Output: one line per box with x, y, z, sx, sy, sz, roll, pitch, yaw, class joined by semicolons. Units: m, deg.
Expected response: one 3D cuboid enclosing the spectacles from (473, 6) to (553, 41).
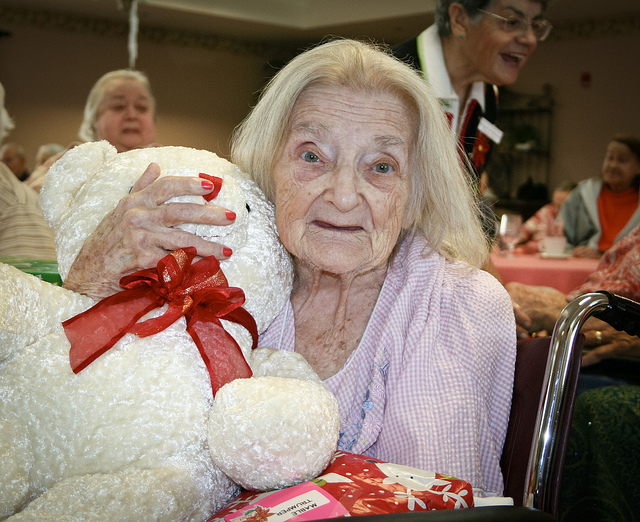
0.623;-0.770;2.148;0.250;0.092;0.086;7;17;12;spectacles

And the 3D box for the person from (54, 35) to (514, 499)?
-0.038;0.120;1.568;0.876;1.222;0.721;-2;14;-1;person

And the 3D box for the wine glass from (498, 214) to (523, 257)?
0.969;-0.125;3.343;0.130;0.229;0.133;4;-15;-13;wine glass

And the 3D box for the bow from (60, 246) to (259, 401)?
-0.284;0.087;1.236;0.281;0.131;0.296;30;40;-12;bow

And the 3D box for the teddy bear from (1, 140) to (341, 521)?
-0.265;0.135;1.240;0.512;0.530;0.429;27;-9;-11;teddy bear

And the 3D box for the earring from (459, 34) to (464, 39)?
0.498;-0.786;2.319;0.010;0.010;0.012;-20;-16;-21;earring
